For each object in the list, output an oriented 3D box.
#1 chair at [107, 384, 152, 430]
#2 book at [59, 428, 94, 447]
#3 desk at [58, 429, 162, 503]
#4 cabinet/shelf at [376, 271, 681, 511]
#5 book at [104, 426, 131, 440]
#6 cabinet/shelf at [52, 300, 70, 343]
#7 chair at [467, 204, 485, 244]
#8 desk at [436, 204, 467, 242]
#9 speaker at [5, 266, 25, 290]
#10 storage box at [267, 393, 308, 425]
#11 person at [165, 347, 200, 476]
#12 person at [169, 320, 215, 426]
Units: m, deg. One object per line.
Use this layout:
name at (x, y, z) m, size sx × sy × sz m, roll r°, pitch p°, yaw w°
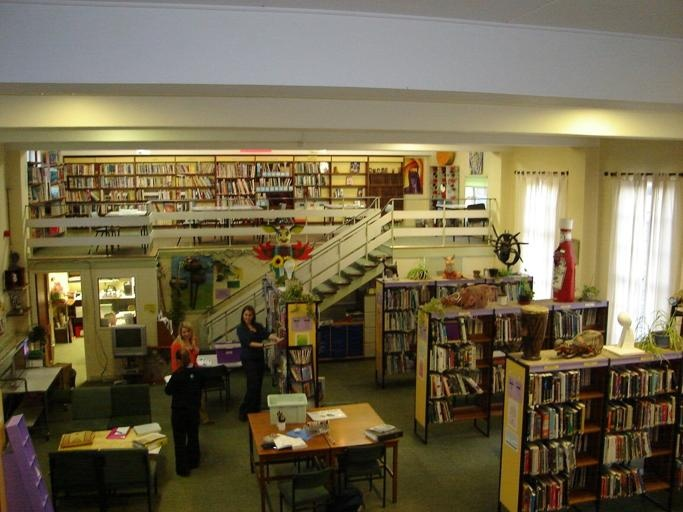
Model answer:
chair at (-3.168, 2.199, 9.072) m, size 0.538 × 0.797 × 0.538 m, roll -1°, pitch 7°, yaw -17°
book at (-3.580, 2.425, 8.194) m, size 0.388 × 0.096 × 0.361 m, roll 0°, pitch 13°, yaw -15°
desk at (-2.997, 2.693, 7.837) m, size 0.881 × 0.669 × 1.099 m, roll -1°, pitch 11°, yaw -11°
cabinet/shelf at (2.525, 1.686, 8.592) m, size 2.189 × 1.531 × 3.087 m, roll -1°, pitch 5°, yaw -11°
book at (-3.066, 2.387, 8.294) m, size 0.131 × 0.137 × 0.127 m, roll 0°, pitch 24°, yaw 3°
cabinet/shelf at (-6.748, 1.567, 14.593) m, size 0.349 × 0.925 × 0.966 m, roll -2°, pitch 7°, yaw -20°
chair at (3.469, -0.865, 15.634) m, size 0.454 × 0.954 × 1.048 m, roll -2°, pitch 5°, yaw 12°
desk at (2.767, -0.818, 15.332) m, size 0.519 × 0.876 × 0.918 m, roll -4°, pitch 11°, yaw -15°
speaker at (-6.240, 0.412, 11.497) m, size 0.342 × 0.381 × 0.351 m, roll 3°, pitch 3°, yaw 1°
storage box at (-0.735, 1.981, 8.003) m, size 0.448 × 0.214 × 0.327 m, roll 0°, pitch 13°, yaw -6°
person at (-2.193, 2.140, 8.428) m, size 0.473 × 1.747 × 0.374 m, roll -5°, pitch 5°, yaw -20°
person at (-2.420, 1.783, 9.397) m, size 0.489 × 1.649 × 0.544 m, roll 20°, pitch 23°, yaw 39°
